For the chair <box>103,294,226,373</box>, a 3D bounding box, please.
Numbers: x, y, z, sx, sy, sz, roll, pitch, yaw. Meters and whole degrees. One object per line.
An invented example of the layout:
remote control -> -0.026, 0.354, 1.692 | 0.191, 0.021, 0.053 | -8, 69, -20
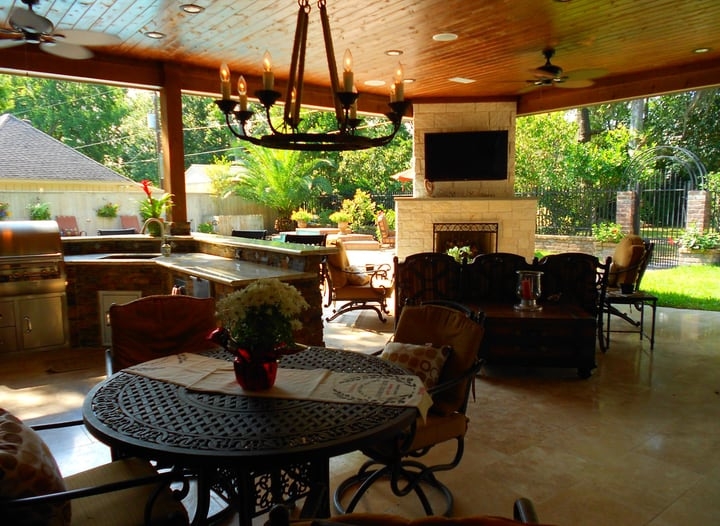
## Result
chair -> -1.473, 0.484, 4.018 | 0.718, 0.756, 0.763 | -3, 3, -30

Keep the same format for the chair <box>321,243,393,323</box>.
chair -> -0.100, 0.309, 7.755 | 1.537, 1.165, 1.057 | -1, 6, 0

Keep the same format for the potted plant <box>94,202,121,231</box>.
potted plant -> -7.420, -1.393, 15.074 | 0.414, 0.821, 0.649 | 6, 16, 14

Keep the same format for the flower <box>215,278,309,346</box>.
flower -> -0.526, 0.214, 2.879 | 0.474, 0.321, 0.462 | 22, 32, 38

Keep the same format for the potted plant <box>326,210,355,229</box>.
potted plant -> -0.744, -1.587, 18.538 | 0.978, 0.523, 0.907 | 7, 14, 34

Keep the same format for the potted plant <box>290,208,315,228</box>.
potted plant -> -2.191, -1.621, 18.422 | 0.990, 0.532, 0.880 | 4, 9, 22

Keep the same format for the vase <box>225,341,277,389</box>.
vase -> -0.573, 0.594, 2.946 | 0.329, 0.227, 0.282 | 2, 6, 16

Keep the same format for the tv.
tv -> 2.160, -2.092, 9.977 | 1.431, 0.601, 0.128 | 0, 5, 7

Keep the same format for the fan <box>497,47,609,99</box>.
fan -> 2.510, -2.538, 6.768 | 1.406, 0.325, 0.910 | -1, 5, 6

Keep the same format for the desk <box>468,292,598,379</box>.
desk -> 1.844, 0.767, 5.173 | 1.629, 0.548, 0.967 | 1, 3, 11

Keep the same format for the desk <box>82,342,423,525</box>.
desk -> -0.574, 1.003, 2.858 | 1.802, 0.603, 1.060 | -2, 13, -12
